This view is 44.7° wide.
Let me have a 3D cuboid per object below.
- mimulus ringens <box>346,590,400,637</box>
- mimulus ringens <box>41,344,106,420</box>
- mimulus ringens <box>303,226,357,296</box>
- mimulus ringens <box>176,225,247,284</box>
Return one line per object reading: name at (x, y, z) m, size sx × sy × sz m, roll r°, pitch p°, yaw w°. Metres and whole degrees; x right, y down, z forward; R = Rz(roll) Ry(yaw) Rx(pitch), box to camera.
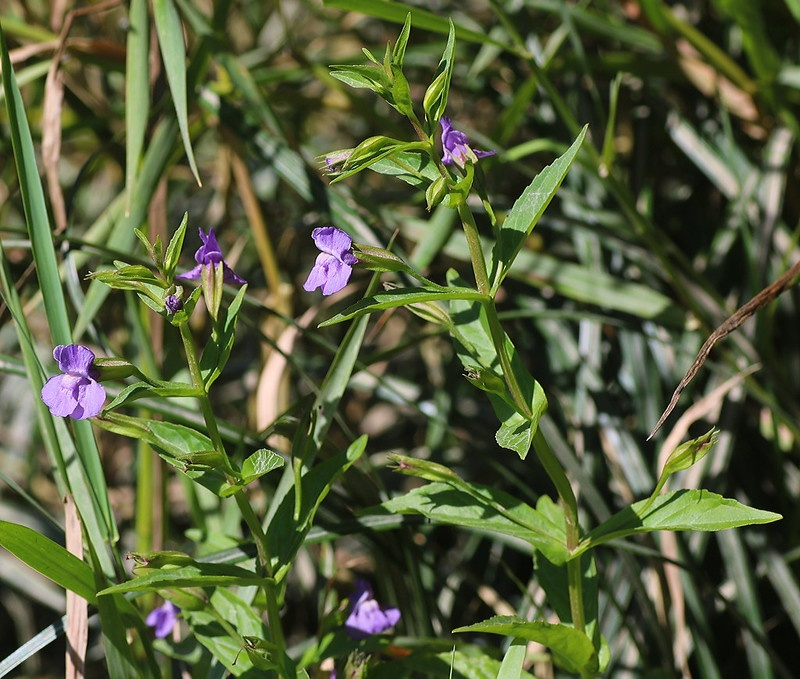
mimulus ringens at (-0.038, 0.383, 1.378) m, size 0.052 × 0.090 × 0.024 m, roll 12°, pitch 15°, yaw 12°
mimulus ringens at (-0.397, 0.058, 1.168) m, size 0.092 × 0.048 × 0.084 m, roll 18°, pitch 36°, yaw 38°
mimulus ringens at (-0.098, -0.107, 1.179) m, size 0.080 × 0.092 × 0.042 m, roll -29°, pitch 92°, yaw 8°
mimulus ringens at (-0.240, -0.112, 1.255) m, size 0.061 × 0.081 × 0.034 m, roll 6°, pitch 44°, yaw -1°
